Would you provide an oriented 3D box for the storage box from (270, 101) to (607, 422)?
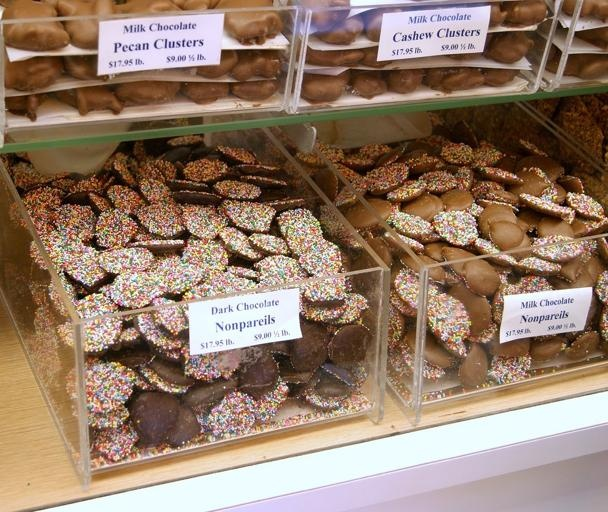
[{"bbox_3d":[0.279,0.069,1.572,0.933,0.344,0.809,-12,42,-20],"label":"storage box"}]
